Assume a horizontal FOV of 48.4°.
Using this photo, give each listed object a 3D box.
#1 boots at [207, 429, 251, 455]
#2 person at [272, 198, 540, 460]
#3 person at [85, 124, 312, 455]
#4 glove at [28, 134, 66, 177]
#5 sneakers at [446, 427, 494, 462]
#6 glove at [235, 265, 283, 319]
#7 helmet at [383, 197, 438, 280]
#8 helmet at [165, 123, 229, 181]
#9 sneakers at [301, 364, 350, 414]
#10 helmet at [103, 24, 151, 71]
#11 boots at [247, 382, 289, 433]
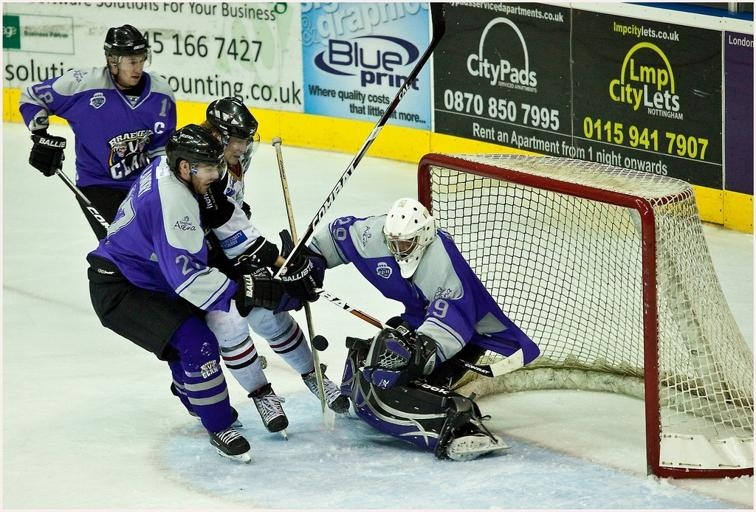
[{"bbox_3d":[-0.690,0.853,3.913,0.082,0.097,0.232,-18,18,-34],"label":"boots"},{"bbox_3d":[0.144,0.414,4.233,0.686,0.954,0.955,-31,35,-32],"label":"person"},{"bbox_3d":[-0.879,0.144,3.899,0.883,1.511,0.434,5,13,10],"label":"person"},{"bbox_3d":[-1.871,-0.589,4.885,0.245,0.236,0.189,14,8,19],"label":"glove"},{"bbox_3d":[0.409,0.856,3.775,0.191,0.131,0.066,0,28,-16],"label":"sneakers"},{"bbox_3d":[-0.543,0.163,3.833,0.232,0.214,0.167,2,8,-15],"label":"glove"},{"bbox_3d":[0.150,-0.107,3.980,0.256,0.324,0.313,0,25,24],"label":"helmet"},{"bbox_3d":[-0.795,-0.429,3.712,0.286,0.263,0.226,12,16,0],"label":"helmet"},{"bbox_3d":[-0.286,0.663,4.341,0.114,0.199,0.348,21,-12,4],"label":"sneakers"},{"bbox_3d":[-1.348,-1.135,4.479,0.246,0.225,0.210,20,32,36],"label":"helmet"},{"bbox_3d":[-0.527,0.734,4.102,0.147,0.122,0.345,-15,24,-23],"label":"boots"}]
